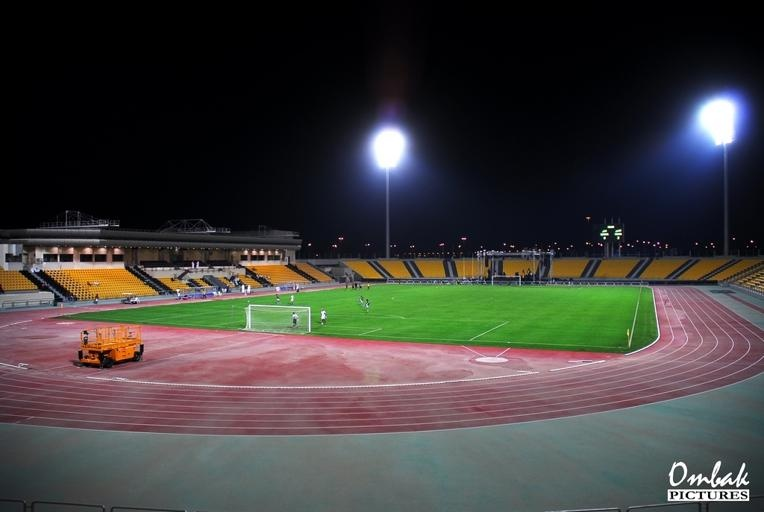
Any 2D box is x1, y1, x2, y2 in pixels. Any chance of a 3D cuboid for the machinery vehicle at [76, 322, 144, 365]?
[{"bbox_3d":[-14.614,4.845,31.709,1.820,1.625,2.982,-1,-1,19],"label":"machinery vehicle"}]
